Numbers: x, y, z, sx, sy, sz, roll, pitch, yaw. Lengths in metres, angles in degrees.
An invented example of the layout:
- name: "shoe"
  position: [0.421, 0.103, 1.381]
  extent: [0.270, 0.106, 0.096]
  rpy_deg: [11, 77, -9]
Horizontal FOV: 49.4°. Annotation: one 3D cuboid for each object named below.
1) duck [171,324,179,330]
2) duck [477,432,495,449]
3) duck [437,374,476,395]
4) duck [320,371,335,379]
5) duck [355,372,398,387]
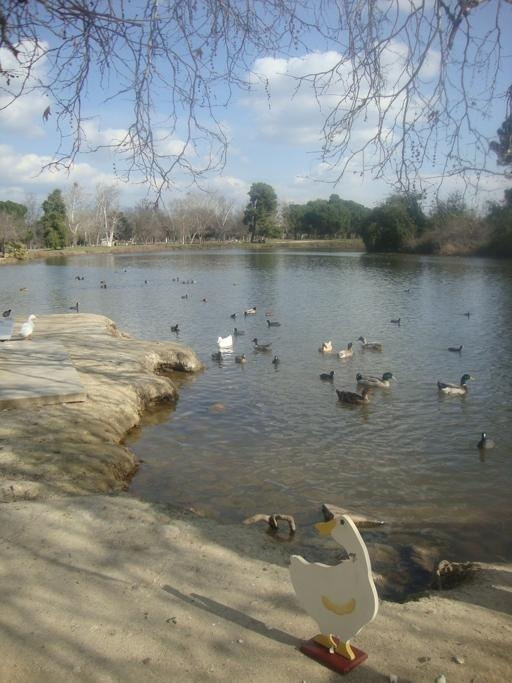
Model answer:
- name: "duck"
  position: [-4.622, -0.823, 31.689]
  extent: [0.348, 0.183, 0.454]
  rpy_deg: [-3, 10, -14]
- name: "duck"
  position: [5.832, 2.553, 14.215]
  extent: [0.316, 0.363, 0.508]
  rpy_deg: [-9, 18, 22]
- name: "duck"
  position: [6.865, 1.468, 19.330]
  extent: [0.888, 0.580, 1.814]
  rpy_deg: [9, 4, 27]
- name: "duck"
  position: [2.680, 1.305, 21.064]
  extent: [0.511, 0.238, 0.582]
  rpy_deg: [6, 4, -3]
- name: "duck"
  position: [4.269, 1.407, 20.300]
  extent: [1.142, 0.696, 0.599]
  rpy_deg: [5, 20, 14]
